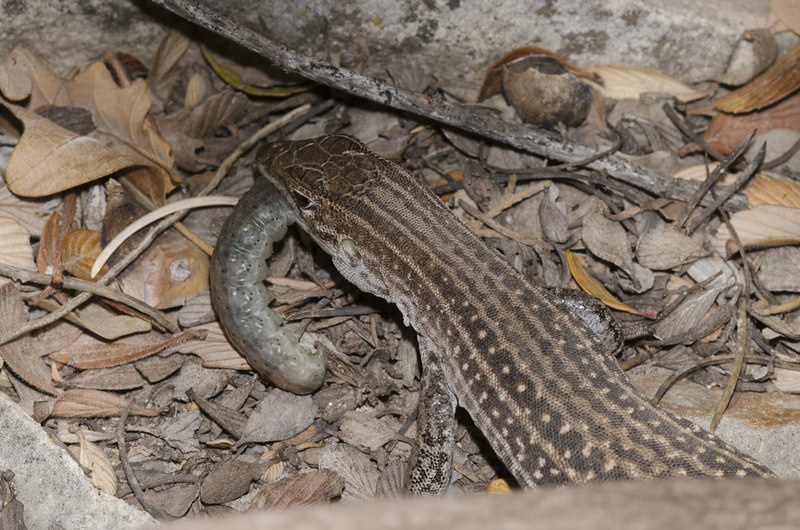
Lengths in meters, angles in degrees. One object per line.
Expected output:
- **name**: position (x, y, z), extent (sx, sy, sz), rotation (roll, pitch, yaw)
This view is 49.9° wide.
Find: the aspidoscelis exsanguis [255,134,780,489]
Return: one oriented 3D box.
- **aspidoscelis exsanguis**: position (0.541, 0.434, 6.591), extent (2.517, 3.049, 2.845), rotation (1, 94, -13)
